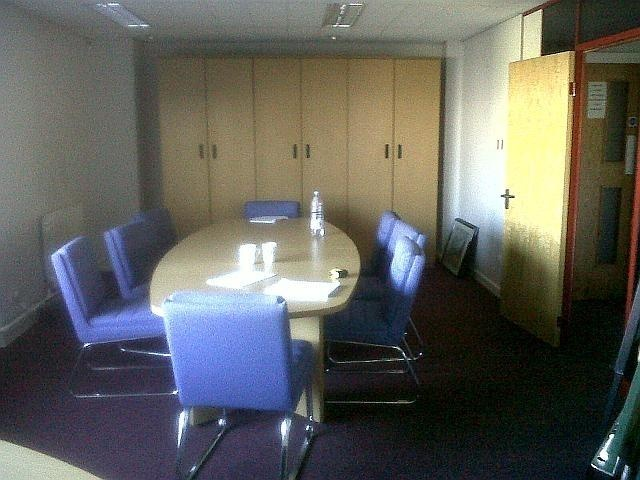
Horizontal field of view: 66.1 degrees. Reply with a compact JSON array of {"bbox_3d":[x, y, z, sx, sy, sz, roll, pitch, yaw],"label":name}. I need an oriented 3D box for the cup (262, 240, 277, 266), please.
[{"bbox_3d":[-0.347,0.091,3.349,0.088,0.156,0.196,-3,15,-12],"label":"cup"}]

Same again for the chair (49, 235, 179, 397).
[{"bbox_3d":[-1.397,0.534,3.612,0.843,1.033,0.697,1,13,-8],"label":"chair"}]

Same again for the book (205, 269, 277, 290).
[{"bbox_3d":[-0.487,0.244,2.979,0.414,0.022,0.275,1,15,3],"label":"book"}]

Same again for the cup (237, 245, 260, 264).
[{"bbox_3d":[-0.471,0.086,3.225,0.138,0.131,0.140,2,-2,0],"label":"cup"}]

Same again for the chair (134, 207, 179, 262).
[{"bbox_3d":[-1.460,-0.078,4.465,0.419,0.395,0.402,-5,15,-26],"label":"chair"}]

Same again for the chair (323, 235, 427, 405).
[{"bbox_3d":[0.348,0.476,3.904,0.849,1.060,1.556,1,6,8],"label":"chair"}]
